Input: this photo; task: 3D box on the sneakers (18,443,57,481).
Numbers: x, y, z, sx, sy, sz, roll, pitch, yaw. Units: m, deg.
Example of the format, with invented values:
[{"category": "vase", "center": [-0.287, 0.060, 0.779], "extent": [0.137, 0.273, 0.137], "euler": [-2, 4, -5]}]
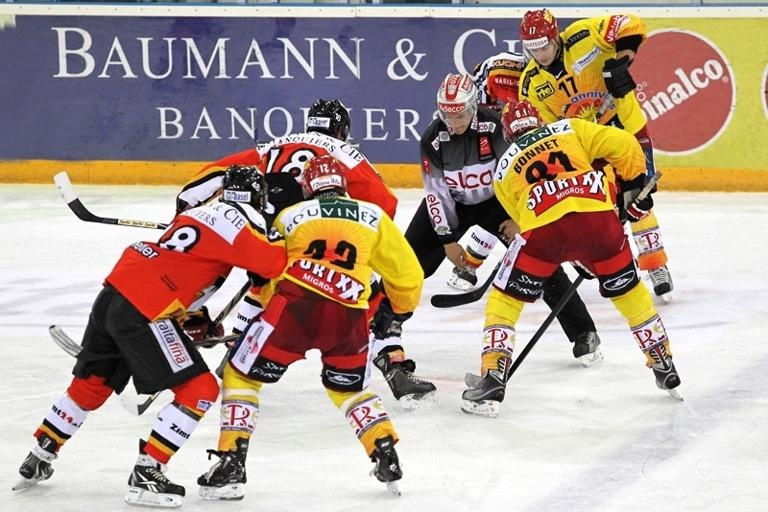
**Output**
[{"category": "sneakers", "center": [-1.716, 1.033, 4.084], "extent": [0.141, 0.203, 0.106], "euler": [18, -5, -11]}]

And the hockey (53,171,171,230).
[{"category": "hockey", "center": [-1.739, -0.343, 5.201], "extent": [0.096, 0.286, 0.840], "euler": [-9, -7, 32]}]

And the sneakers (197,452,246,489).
[{"category": "sneakers", "center": [-0.775, 1.046, 4.041], "extent": [0.319, 0.187, 0.101], "euler": [-11, -18, 17]}]

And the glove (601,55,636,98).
[{"category": "glove", "center": [1.788, -1.349, 6.213], "extent": [0.287, 0.305, 0.143], "euler": [-8, 20, 25]}]

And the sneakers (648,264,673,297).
[{"category": "sneakers", "center": [2.147, 0.195, 6.331], "extent": [0.109, 0.124, 0.309], "euler": [-36, 20, 18]}]

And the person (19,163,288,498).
[{"category": "person", "center": [-1.128, 0.379, 4.027], "extent": [1.327, 1.577, 0.600], "euler": [-2, 13, -6]}]

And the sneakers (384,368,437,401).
[{"category": "sneakers", "center": [0.079, 0.766, 4.945], "extent": [0.171, 0.202, 0.506], "euler": [-21, -21, 36]}]
